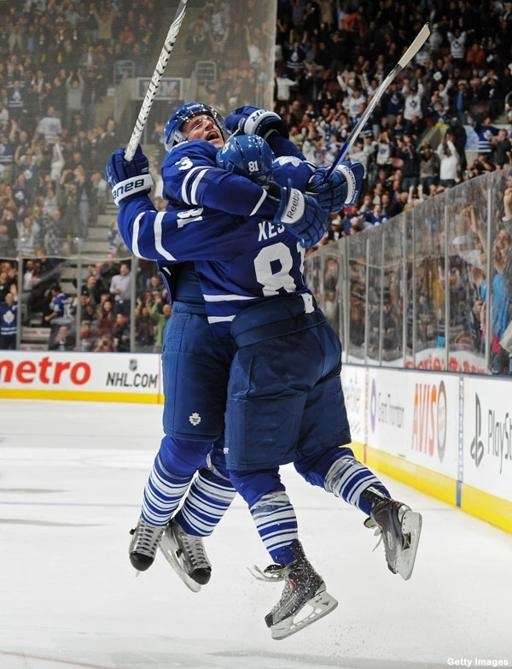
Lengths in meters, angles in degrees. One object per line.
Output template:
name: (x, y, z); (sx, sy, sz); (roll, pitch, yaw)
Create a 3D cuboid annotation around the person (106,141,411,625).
person: (0.000, 0.031, 3.451); (1.146, 1.665, 0.842); (6, 9, 44)

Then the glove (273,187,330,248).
glove: (0.150, -0.385, 3.155); (0.166, 0.177, 0.273); (2, 0, 4)

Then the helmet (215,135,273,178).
helmet: (-0.026, -0.565, 3.036); (0.131, 0.140, 0.159); (8, 16, 9)

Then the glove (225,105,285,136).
glove: (-0.013, -0.737, 3.386); (0.150, 0.074, 0.178); (-4, 11, -28)

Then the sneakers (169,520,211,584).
sneakers: (-0.247, 0.845, 3.724); (0.093, 0.108, 0.264); (-15, 56, -37)

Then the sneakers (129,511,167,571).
sneakers: (-0.422, 0.798, 3.737); (0.085, 0.104, 0.264); (28, 16, -20)
